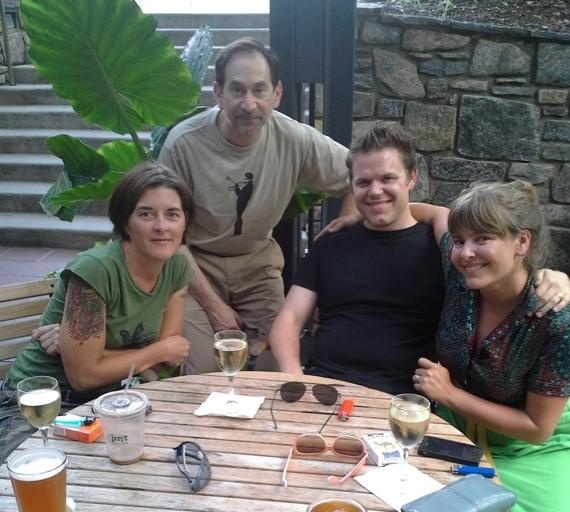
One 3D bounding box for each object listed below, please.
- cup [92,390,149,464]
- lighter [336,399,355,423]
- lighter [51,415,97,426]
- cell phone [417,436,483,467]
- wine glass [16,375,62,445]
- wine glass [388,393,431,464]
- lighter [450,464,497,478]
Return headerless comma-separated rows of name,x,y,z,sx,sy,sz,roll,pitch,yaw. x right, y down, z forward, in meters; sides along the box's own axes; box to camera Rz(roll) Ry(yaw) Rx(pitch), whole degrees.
cup,-0.420,0.442,1.344,0.160,0.141,0.122,5,18,14
lighter,0.179,0.451,1.545,0.030,0.021,0.059,3,21,12
lighter,-0.579,0.451,1.443,0.080,0.016,0.043,3,3,-1
cell phone,0.430,0.505,1.370,0.112,0.099,0.061,16,14,12
wine glass,-0.615,0.375,1.320,0.091,0.122,0.116,-5,12,-26
wine glass,0.311,0.433,1.327,0.092,0.187,0.228,3,10,14
lighter,0.467,0.524,1.297,0.079,0.018,0.041,-2,1,5
